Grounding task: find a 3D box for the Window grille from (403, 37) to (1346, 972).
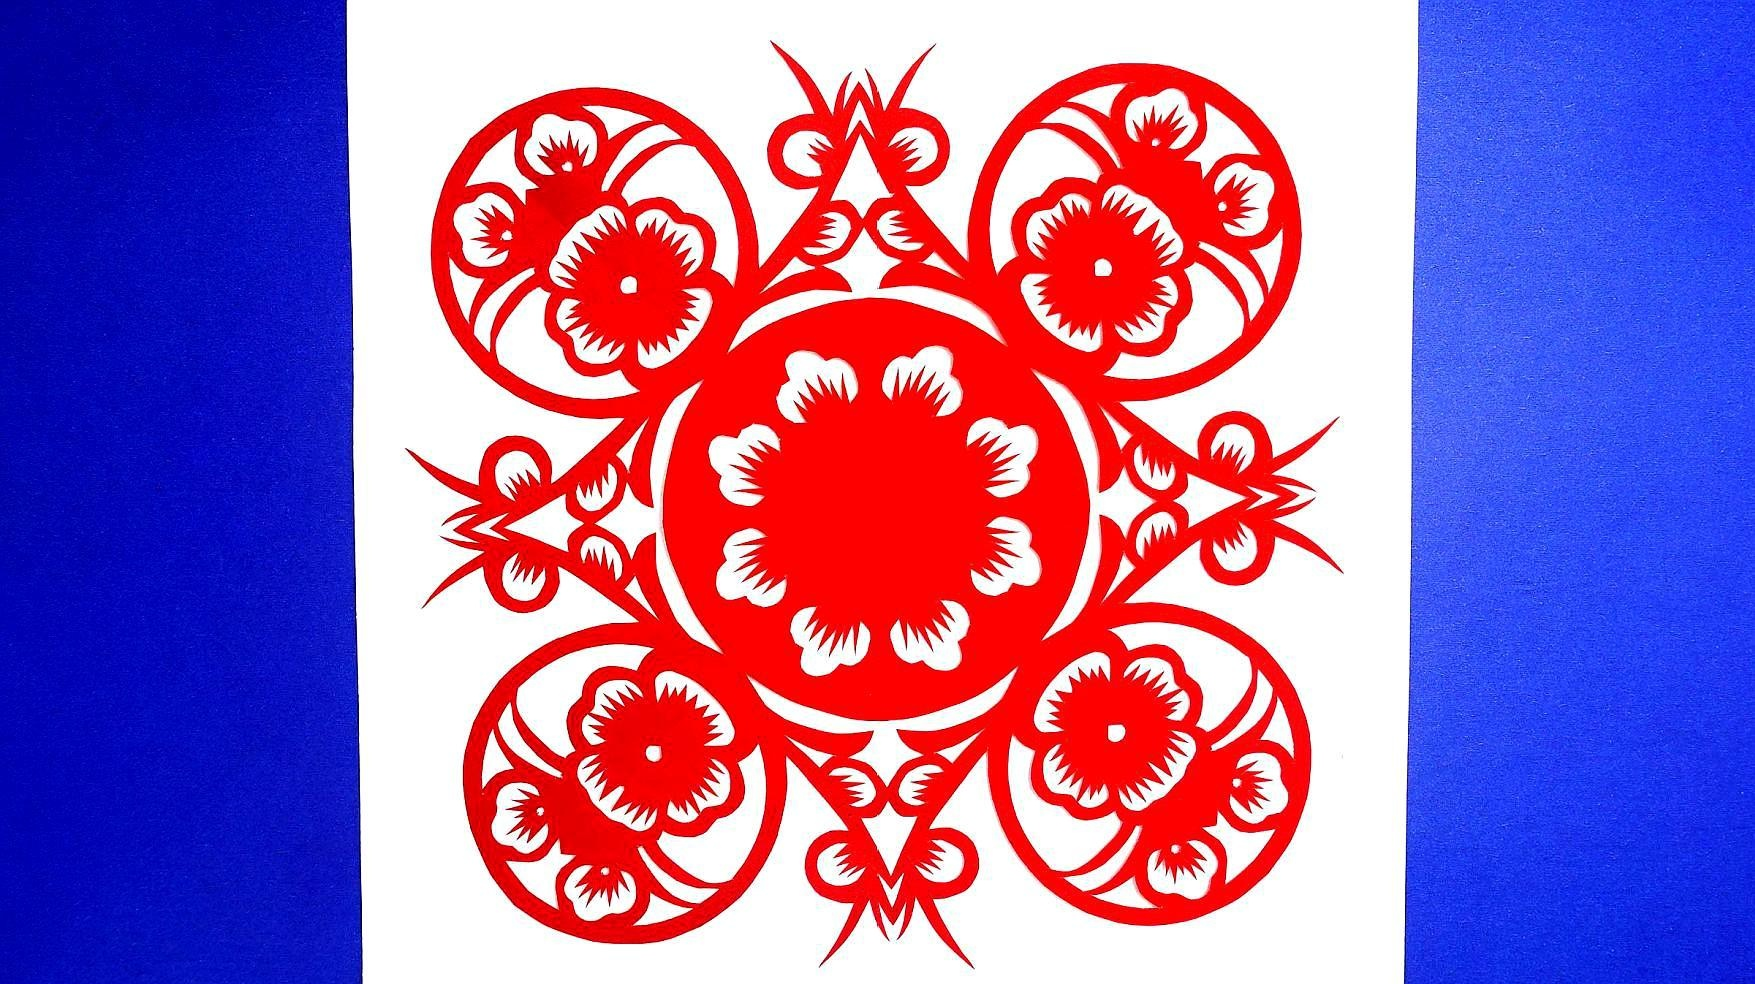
[{"bbox_3d":[-0.005,0.068,3.864,1.415,1.328,0.035,-2,1,16],"label":"Window grille"}]
